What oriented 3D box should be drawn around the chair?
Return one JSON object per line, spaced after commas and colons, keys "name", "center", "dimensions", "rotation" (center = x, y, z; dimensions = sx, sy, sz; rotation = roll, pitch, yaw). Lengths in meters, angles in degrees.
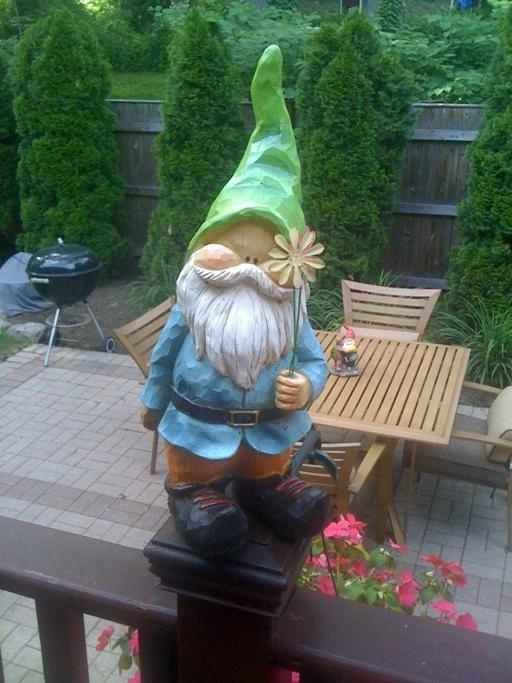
{"name": "chair", "center": [0.402, 0.723, 4.023], "dimensions": [2.285, 0.970, 2.170], "rotation": [6, 17, 18]}
